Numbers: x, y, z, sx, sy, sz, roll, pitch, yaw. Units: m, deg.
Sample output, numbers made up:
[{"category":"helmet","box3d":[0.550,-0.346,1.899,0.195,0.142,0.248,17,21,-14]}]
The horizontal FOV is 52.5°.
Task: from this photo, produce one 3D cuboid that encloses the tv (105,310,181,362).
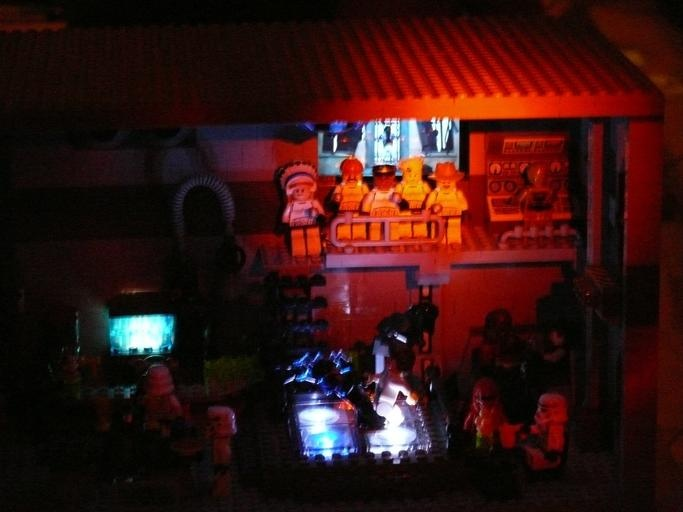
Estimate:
[{"category":"tv","box3d":[-1.901,0.780,6.472,0.648,0.432,0.346,1,-15,-30]}]
